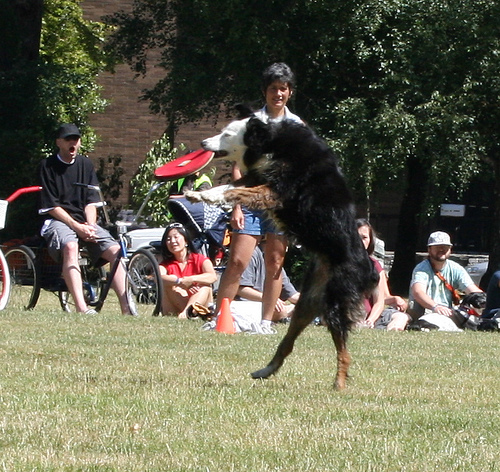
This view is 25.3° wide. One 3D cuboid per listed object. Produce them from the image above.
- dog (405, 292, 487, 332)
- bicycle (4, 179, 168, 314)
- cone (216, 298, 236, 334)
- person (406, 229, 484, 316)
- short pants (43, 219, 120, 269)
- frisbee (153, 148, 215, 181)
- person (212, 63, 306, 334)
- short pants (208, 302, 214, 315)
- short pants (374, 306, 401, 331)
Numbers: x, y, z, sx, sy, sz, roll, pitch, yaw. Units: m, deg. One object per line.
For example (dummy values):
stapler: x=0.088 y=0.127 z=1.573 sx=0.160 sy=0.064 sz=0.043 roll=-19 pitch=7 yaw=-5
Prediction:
dog: x=2.358 y=0.851 z=12.319 sx=1.284 sy=0.379 sz=0.745 roll=4 pitch=3 yaw=-38
bicycle: x=-1.819 y=0.277 z=12.744 sx=1.230 sy=1.330 sz=2.315 roll=0 pitch=-1 yaw=-44
cone: x=-0.246 y=0.781 z=10.891 sx=0.310 sy=0.389 sz=0.302 roll=0 pitch=-4 yaw=-4
person: x=2.023 y=0.437 z=12.761 sx=0.816 sy=0.960 sz=0.991 roll=-3 pitch=3 yaw=-16
short pants: x=-1.816 y=0.092 z=12.021 sx=0.388 sy=0.346 sz=0.772 roll=9 pitch=4 yaw=42
frisbee: x=-0.704 y=-0.788 z=12.538 sx=0.578 sy=0.471 sz=0.644 roll=5 pitch=11 yaw=18
person: x=0.179 y=-0.275 z=10.567 sx=0.975 sy=2.646 sz=0.931 roll=-3 pitch=12 yaw=-25
short pants: x=-0.417 y=0.783 z=11.982 sx=0.097 sy=0.108 sz=0.293 roll=1 pitch=-6 yaw=-7
short pants: x=1.508 y=0.910 z=12.266 sx=0.246 sy=0.187 sz=0.787 roll=7 pitch=3 yaw=12
